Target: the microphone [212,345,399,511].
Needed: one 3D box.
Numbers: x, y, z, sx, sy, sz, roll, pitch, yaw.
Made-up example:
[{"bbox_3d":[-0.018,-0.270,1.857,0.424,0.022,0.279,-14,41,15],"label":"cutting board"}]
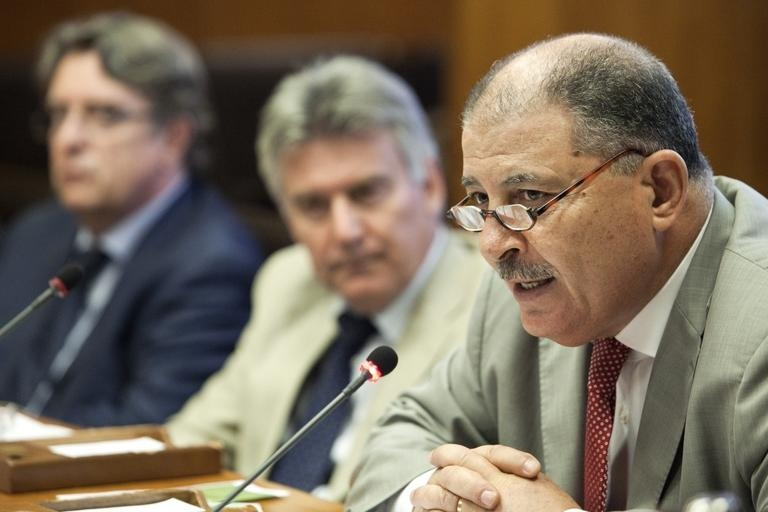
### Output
[{"bbox_3d":[-0.210,0.509,2.367,0.717,0.094,0.082,-38,70,-16],"label":"microphone"}]
